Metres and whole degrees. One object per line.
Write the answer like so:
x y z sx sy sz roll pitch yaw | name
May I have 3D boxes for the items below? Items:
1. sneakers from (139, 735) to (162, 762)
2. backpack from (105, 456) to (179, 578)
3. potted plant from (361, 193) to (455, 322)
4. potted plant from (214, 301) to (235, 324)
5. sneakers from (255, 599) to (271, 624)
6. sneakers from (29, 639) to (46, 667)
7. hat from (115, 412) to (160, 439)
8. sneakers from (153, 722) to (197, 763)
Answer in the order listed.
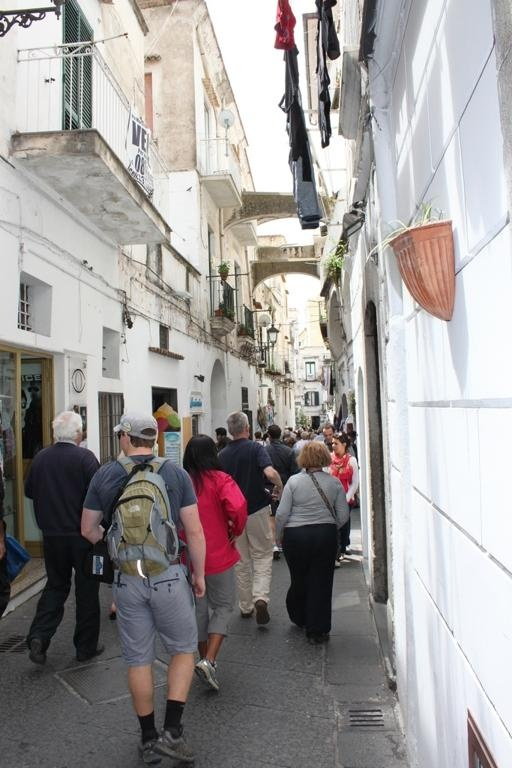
-0.477 1.641 2.652 0.053 0.078 0.148 5 -13 -10 | sneakers
-0.547 0.625 2.829 0.265 0.607 0.286 -2 -10 -7 | backpack
0.468 -0.309 1.657 0.165 0.278 0.229 -2 -6 16 | potted plant
-0.872 -1.907 15.664 0.521 0.422 1.033 2 -2 4 | potted plant
0.047 1.863 4.776 0.071 0.223 0.084 -4 -11 6 | sneakers
-1.424 1.708 3.816 0.069 0.231 0.082 -1 9 -9 | sneakers
-0.629 0.205 3.055 0.125 0.127 0.180 5 4 -41 | hat
-0.360 1.627 2.691 0.088 0.140 0.252 -9 -41 36 | sneakers
